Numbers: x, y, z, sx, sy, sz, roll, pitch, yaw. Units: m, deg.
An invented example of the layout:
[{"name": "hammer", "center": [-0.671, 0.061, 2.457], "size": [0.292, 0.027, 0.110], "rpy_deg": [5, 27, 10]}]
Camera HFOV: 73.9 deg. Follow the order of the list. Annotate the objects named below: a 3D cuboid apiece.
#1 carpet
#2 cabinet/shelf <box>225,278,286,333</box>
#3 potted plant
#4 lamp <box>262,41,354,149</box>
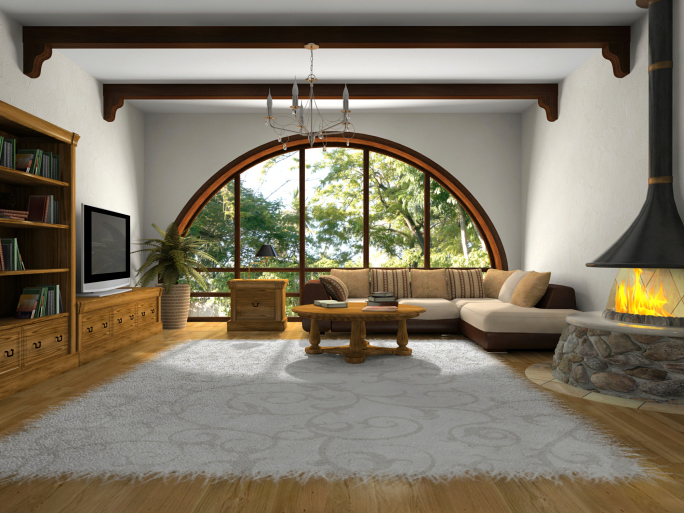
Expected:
[{"name": "carpet", "center": [-0.219, 1.215, 3.762], "size": [3.989, 0.224, 2.255], "rpy_deg": [-2, 1, 0]}, {"name": "cabinet/shelf", "center": [-1.249, 0.699, 6.728], "size": [0.806, 0.656, 0.795], "rpy_deg": [0, -2, -2]}, {"name": "potted plant", "center": [-2.858, 0.382, 7.866], "size": [1.503, 1.677, 1.412], "rpy_deg": [-1, -2, 19]}, {"name": "lamp", "center": [-0.502, -1.983, 7.014], "size": [1.455, 1.540, 1.265], "rpy_deg": [0, -7, -2]}]
